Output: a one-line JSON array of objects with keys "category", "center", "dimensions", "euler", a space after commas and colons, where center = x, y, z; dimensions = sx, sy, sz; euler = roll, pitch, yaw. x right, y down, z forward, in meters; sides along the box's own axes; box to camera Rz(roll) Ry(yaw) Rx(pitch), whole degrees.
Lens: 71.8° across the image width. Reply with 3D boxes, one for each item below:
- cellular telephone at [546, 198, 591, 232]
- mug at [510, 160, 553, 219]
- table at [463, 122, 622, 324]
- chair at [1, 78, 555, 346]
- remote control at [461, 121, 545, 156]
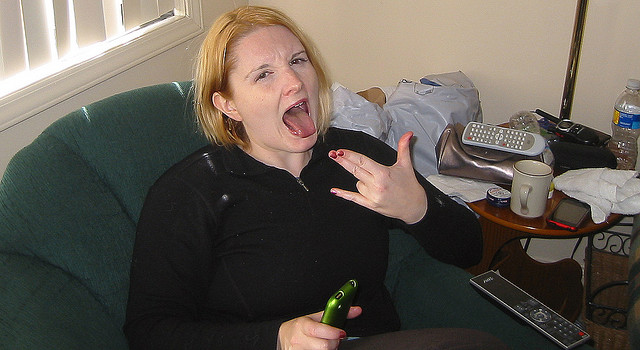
[{"category": "cellular telephone", "center": [1.084, 0.176, 1.930], "dimensions": [0.127, 0.043, 0.173], "euler": [25, 54, 40]}, {"category": "mug", "center": [0.908, 0.065, 1.931], "dimensions": [0.146, 0.234, 0.141], "euler": [-20, 29, -34]}, {"category": "table", "center": [1.102, 0.416, 2.225], "dimensions": [0.501, 0.501, 0.504], "euler": [12, 12, -42]}, {"category": "chair", "center": [-0.239, 0.102, 1.857], "dimensions": [1.985, 0.940, 1.145], "euler": [-5, 23, -5]}, {"category": "remote control", "center": [0.838, -0.168, 2.117], "dimensions": [0.404, 0.135, 0.078], "euler": [13, -9, 18]}]
